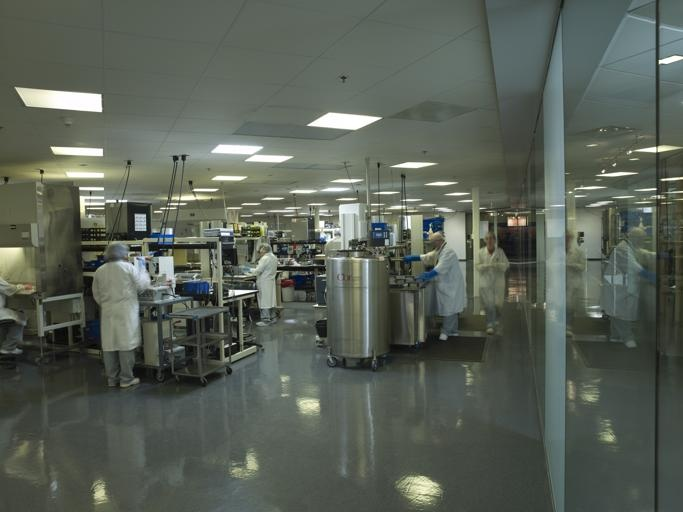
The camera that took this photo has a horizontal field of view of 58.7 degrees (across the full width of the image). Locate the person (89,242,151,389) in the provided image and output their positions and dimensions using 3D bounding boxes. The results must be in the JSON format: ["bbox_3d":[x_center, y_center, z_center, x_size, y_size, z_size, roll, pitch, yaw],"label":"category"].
[{"bbox_3d":[-2.230,0.614,6.346,0.573,1.449,0.570,-6,11,-22],"label":"person"}]

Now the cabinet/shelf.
[{"bbox_3d":[-1.484,0.963,6.558,0.443,0.704,0.652,-1,2,22],"label":"cabinet/shelf"}]

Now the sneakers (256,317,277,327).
[{"bbox_3d":[-1.151,1.044,9.493,0.304,0.136,0.110,2,0,-8],"label":"sneakers"}]

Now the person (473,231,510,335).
[{"bbox_3d":[2.214,0.375,8.853,0.416,1.425,1.514,0,10,13],"label":"person"}]

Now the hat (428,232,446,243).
[{"bbox_3d":[1.281,-0.267,8.035,0.135,0.172,0.124,39,2,-38],"label":"hat"}]

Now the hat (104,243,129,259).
[{"bbox_3d":[-2.372,-0.060,6.429,0.173,0.212,0.225,2,9,3],"label":"hat"}]

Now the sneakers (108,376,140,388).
[{"bbox_3d":[-2.208,1.312,6.259,0.328,0.132,0.118,-1,2,-20],"label":"sneakers"}]

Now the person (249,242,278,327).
[{"bbox_3d":[-1.180,0.473,9.575,0.378,1.256,0.639,-3,10,-4],"label":"person"}]

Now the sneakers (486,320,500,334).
[{"bbox_3d":[2.129,1.003,8.494,0.124,0.174,0.415,-4,-9,16],"label":"sneakers"}]

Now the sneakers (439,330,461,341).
[{"bbox_3d":[1.443,1.051,8.042,0.104,0.142,0.340,-9,-13,36],"label":"sneakers"}]

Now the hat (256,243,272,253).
[{"bbox_3d":[-1.218,-0.120,9.789,0.183,0.176,0.147,12,12,40],"label":"hat"}]

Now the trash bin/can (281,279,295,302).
[{"bbox_3d":[-0.986,0.642,11.379,0.220,0.406,0.268,-2,10,-1],"label":"trash bin/can"}]

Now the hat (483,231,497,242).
[{"bbox_3d":[2.167,-0.278,8.848,0.111,0.123,0.151,-1,-15,4],"label":"hat"}]
